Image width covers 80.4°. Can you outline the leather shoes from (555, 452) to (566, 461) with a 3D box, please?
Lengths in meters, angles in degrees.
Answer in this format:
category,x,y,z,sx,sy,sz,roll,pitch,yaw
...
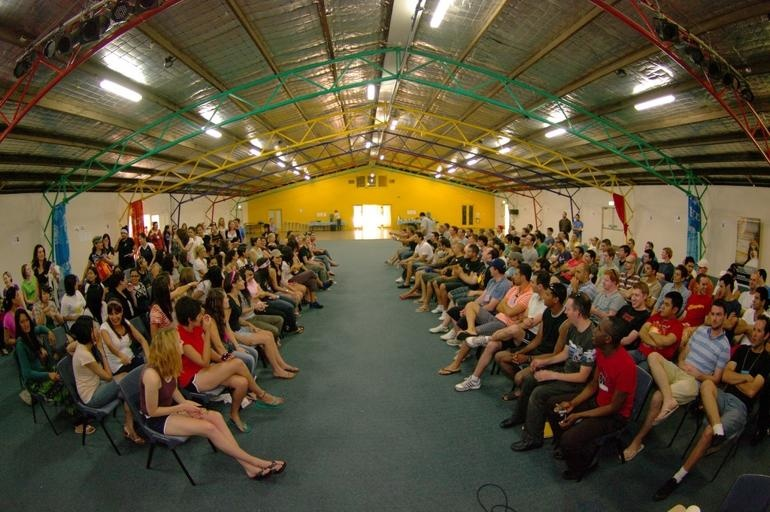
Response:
category,x,y,z,sx,sy,sz,roll,pitch,yaw
leather shoes,2.559,2.969,6.692,0.117,0.094,0.044,16,7,-2

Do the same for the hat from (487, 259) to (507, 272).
category,x,y,z,sx,sy,sz,roll,pitch,yaw
hat,2.180,0.198,8.910,0.304,0.178,0.219,17,24,26

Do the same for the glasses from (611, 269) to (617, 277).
category,x,y,z,sx,sy,sz,roll,pitch,yaw
glasses,4.237,0.335,8.483,0.123,0.129,0.097,13,-9,-17

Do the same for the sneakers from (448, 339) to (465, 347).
category,x,y,z,sx,sy,sz,roll,pitch,yaw
sneakers,1.446,1.779,9.254,0.363,0.169,0.135,0,-2,20

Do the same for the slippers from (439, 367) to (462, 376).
category,x,y,z,sx,sy,sz,roll,pitch,yaw
slippers,1.192,2.157,8.389,0.304,0.077,0.165,2,0,-9

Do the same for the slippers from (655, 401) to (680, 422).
category,x,y,z,sx,sy,sz,roll,pitch,yaw
slippers,4.075,2.246,6.592,0.462,0.359,0.157,-2,4,-26

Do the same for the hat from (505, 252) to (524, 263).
category,x,y,z,sx,sy,sz,roll,pitch,yaw
hat,2.908,0.041,10.147,0.409,0.155,0.286,2,-4,-45

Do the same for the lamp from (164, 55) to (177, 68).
category,x,y,z,sx,sy,sz,roll,pitch,yaw
lamp,-4.490,-4.076,9.546,0.201,0.185,0.169,3,8,-20

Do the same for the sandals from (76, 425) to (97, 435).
category,x,y,z,sx,sy,sz,roll,pitch,yaw
sandals,-4.680,2.711,7.125,0.295,0.125,0.174,5,6,-9

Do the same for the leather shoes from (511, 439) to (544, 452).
category,x,y,z,sx,sy,sz,roll,pitch,yaw
leather shoes,2.088,2.859,6.795,0.482,0.203,0.184,0,4,-4

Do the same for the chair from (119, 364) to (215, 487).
category,x,y,z,sx,sy,sz,roll,pitch,yaw
chair,-3.101,2.500,6.813,1.123,1.553,0.890,3,9,21

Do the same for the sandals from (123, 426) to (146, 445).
category,x,y,z,sx,sy,sz,roll,pitch,yaw
sandals,-3.877,2.730,7.068,0.489,0.210,0.171,13,10,33

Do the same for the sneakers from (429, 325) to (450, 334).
category,x,y,z,sx,sy,sz,roll,pitch,yaw
sneakers,1.186,1.621,9.940,0.405,0.187,0.155,-1,-3,-1

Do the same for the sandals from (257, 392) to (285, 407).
category,x,y,z,sx,sy,sz,roll,pitch,yaw
sandals,-1.905,2.409,7.681,0.528,0.243,0.185,1,24,-2

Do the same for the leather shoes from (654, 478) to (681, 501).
category,x,y,z,sx,sy,sz,roll,pitch,yaw
leather shoes,3.835,3.222,6.205,0.338,0.130,0.105,-29,15,-19

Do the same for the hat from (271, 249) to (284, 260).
category,x,y,z,sx,sy,sz,roll,pitch,yaw
hat,-2.501,-0.030,10.482,0.203,0.162,0.192,1,3,37

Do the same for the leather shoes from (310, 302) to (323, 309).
category,x,y,z,sx,sy,sz,roll,pitch,yaw
leather shoes,-1.728,1.311,11.768,0.278,0.119,0.140,-3,-3,26

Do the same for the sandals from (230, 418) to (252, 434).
category,x,y,z,sx,sy,sz,roll,pitch,yaw
sandals,-2.259,2.701,7.186,0.355,0.085,0.177,18,10,27

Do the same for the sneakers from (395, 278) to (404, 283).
category,x,y,z,sx,sy,sz,roll,pitch,yaw
sneakers,0.442,0.780,14.099,0.241,0.112,0.102,-3,0,12

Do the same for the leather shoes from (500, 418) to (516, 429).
category,x,y,z,sx,sy,sz,roll,pitch,yaw
leather shoes,1.928,2.661,7.166,0.264,0.120,0.187,1,-14,4

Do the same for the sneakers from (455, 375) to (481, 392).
category,x,y,z,sx,sy,sz,roll,pitch,yaw
sneakers,1.450,2.239,7.920,0.514,0.256,0.213,0,-1,-4

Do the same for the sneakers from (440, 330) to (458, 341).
category,x,y,z,sx,sy,sz,roll,pitch,yaw
sneakers,1.334,1.690,9.505,0.327,0.152,0.156,-5,2,7

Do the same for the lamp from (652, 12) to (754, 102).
category,x,y,z,sx,sy,sz,roll,pitch,yaw
lamp,6.196,-3.921,8.835,1.779,0.431,0.365,36,-44,-14

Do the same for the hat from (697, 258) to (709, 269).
category,x,y,z,sx,sy,sz,roll,pitch,yaw
hat,7.205,0.190,10.364,0.323,0.123,0.228,-10,14,-40
